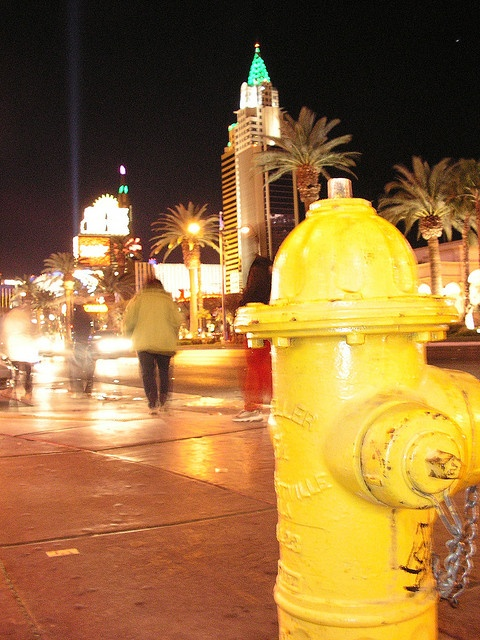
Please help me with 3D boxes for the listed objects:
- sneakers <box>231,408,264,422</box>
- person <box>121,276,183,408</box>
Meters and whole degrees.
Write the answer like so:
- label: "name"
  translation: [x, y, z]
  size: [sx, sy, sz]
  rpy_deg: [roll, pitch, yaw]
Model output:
- label: "sneakers"
  translation: [0.072, 0.867, 7.032]
  size: [0.294, 0.130, 0.098]
  rpy_deg: [3, -8, -2]
- label: "person"
  translation: [-0.885, 0.232, 7.977]
  size: [0.585, 1.356, 0.764]
  rpy_deg: [2, 0, -7]
